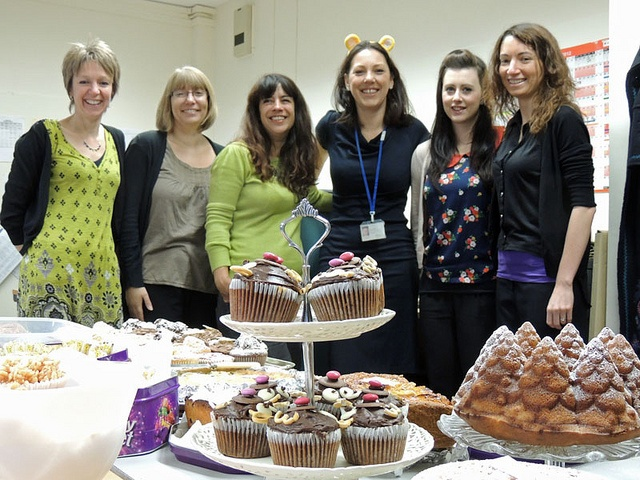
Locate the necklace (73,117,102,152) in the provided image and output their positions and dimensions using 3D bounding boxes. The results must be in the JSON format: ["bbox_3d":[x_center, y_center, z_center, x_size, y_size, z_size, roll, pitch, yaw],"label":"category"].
[{"bbox_3d":[-1.144,-0.519,2.593,0.095,0.131,0.044,-4,-2,-4],"label":"necklace"}]

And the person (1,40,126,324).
[{"bbox_3d":[-1.253,-0.268,2.541,0.568,1.210,0.249,-3,2,-22],"label":"person"}]

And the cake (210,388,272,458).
[{"bbox_3d":[-0.172,0.404,1.146,0.110,0.111,0.125,1,-8,-6],"label":"cake"}]

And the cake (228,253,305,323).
[{"bbox_3d":[-0.121,0.119,1.243,0.147,0.120,0.142,-1,-8,41],"label":"cake"}]

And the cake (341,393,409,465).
[{"bbox_3d":[0.119,0.406,1.129,0.116,0.111,0.131,1,-8,-4],"label":"cake"}]

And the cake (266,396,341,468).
[{"bbox_3d":[-0.040,0.397,1.061,0.134,0.130,0.120,-1,2,39],"label":"cake"}]

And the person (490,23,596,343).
[{"bbox_3d":[0.969,-0.270,2.281,0.423,1.386,0.278,-1,2,35],"label":"person"}]

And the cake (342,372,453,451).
[{"bbox_3d":[0.207,0.425,1.321,0.210,0.068,0.221,15,2,-21],"label":"cake"}]

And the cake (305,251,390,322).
[{"bbox_3d":[0.072,0.109,1.260,0.150,0.136,0.181,-10,-7,24],"label":"cake"}]
